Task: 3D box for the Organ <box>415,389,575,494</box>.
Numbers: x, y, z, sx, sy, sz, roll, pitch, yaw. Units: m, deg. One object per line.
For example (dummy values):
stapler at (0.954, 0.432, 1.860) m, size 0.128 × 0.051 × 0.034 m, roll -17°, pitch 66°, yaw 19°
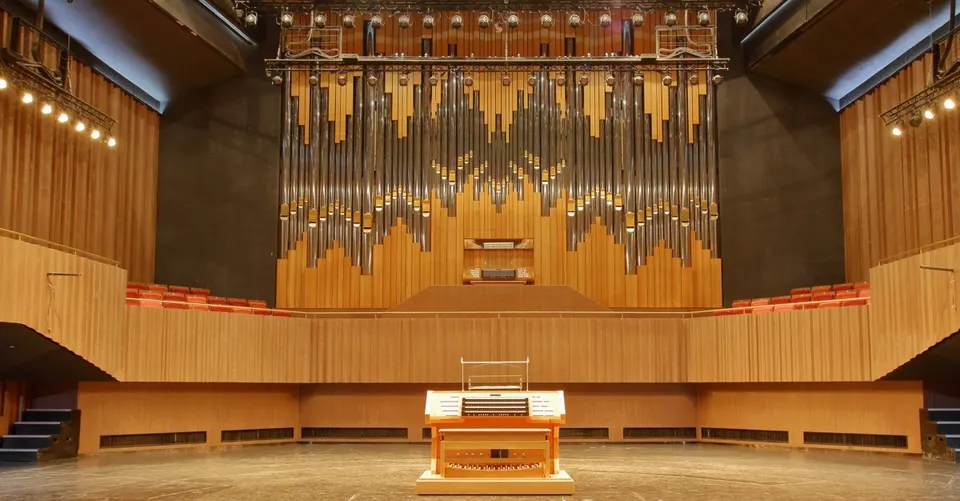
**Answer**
Organ at (0.292, 3.821, 16.617) m, size 3.083 × 1.789 × 1.928 m, roll -1°, pitch -23°, yaw 1°
